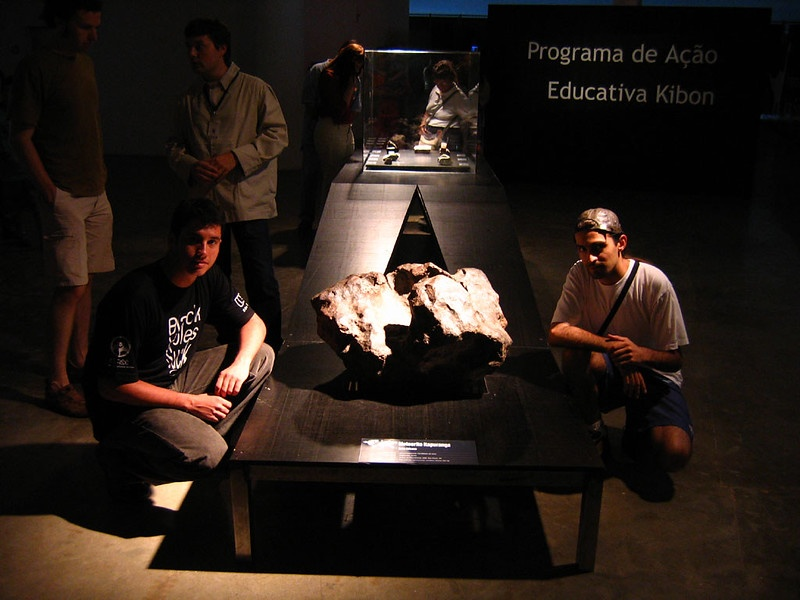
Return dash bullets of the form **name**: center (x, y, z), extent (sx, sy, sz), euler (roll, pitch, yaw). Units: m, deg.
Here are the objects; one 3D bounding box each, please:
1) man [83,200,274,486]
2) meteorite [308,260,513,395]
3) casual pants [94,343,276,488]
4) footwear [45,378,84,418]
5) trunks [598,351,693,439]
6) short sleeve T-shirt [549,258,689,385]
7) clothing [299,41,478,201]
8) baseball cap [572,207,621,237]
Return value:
- **man**: center (-1.002, 0.150, 2.868), extent (0.779, 1.163, 0.788), euler (6, 9, 18)
- **meteorite**: center (0.073, 0.132, 2.838), extent (0.661, 0.326, 0.664), euler (11, 18, 32)
- **casual pants**: center (-0.933, 0.542, 2.695), extent (0.618, 0.193, 0.610), euler (-6, 52, -14)
- **footwear**: center (-1.827, 0.539, 3.468), extent (0.274, 0.108, 0.132), euler (23, 24, 6)
- **trunks**: center (1.199, 0.478, 3.074), extent (0.567, 0.372, 0.154), euler (2, -9, 27)
- **short sleeve T-shirt**: center (1.092, 0.135, 3.147), extent (0.638, 0.551, 0.346), euler (22, 41, 37)
- **clothing**: center (-0.067, -1.662, 5.754), extent (1.627, 0.982, 1.566), euler (0, -15, -5)
- **baseball cap**: center (0.951, -0.364, 3.036), extent (0.164, 0.099, 0.158), euler (2, 7, 10)
